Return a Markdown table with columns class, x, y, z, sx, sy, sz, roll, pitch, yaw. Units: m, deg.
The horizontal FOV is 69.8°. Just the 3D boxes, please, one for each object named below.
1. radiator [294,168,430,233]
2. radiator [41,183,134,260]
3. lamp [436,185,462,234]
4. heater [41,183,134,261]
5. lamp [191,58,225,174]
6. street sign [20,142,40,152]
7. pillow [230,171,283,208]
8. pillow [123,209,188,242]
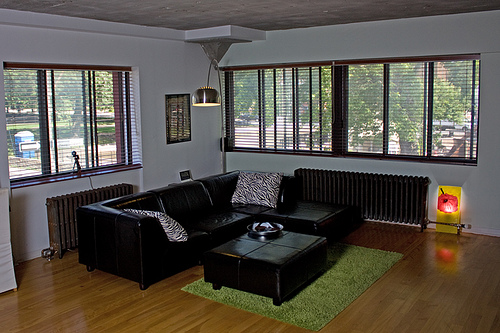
| class | x | y | z | sx | sy | sz | roll | pitch | yaw |
| --- | --- | --- | --- | --- | --- | --- | --- | --- | --- |
| radiator | 2.017 | 0.613 | 6.822 | 2.559 | 0.951 | 0.232 | 4 | -9 | 13 |
| radiator | -2.672 | 0.872 | 6.246 | 0.462 | 0.927 | 1.703 | 1 | 7 | 30 |
| lamp | 3.460 | 0.742 | 6.255 | 0.364 | 0.806 | 0.245 | 6 | 17 | 28 |
| heater | -2.762 | 0.840 | 5.867 | 0.814 | 0.945 | 1.367 | 7 | 13 | 33 |
| lamp | -0.662 | -0.756 | 6.140 | 0.588 | 2.011 | 0.593 | -9 | 13 | -36 |
| street sign | -3.512 | -0.319 | 5.721 | 0.017 | 0.157 | 0.295 | 12 | 19 | 41 |
| pillow | 0.137 | 0.386 | 6.375 | 0.834 | 0.611 | 0.236 | 7 | -25 | 22 |
| pillow | -1.379 | 0.766 | 4.813 | 0.615 | 0.454 | 0.977 | -3 | 2 | -27 |
